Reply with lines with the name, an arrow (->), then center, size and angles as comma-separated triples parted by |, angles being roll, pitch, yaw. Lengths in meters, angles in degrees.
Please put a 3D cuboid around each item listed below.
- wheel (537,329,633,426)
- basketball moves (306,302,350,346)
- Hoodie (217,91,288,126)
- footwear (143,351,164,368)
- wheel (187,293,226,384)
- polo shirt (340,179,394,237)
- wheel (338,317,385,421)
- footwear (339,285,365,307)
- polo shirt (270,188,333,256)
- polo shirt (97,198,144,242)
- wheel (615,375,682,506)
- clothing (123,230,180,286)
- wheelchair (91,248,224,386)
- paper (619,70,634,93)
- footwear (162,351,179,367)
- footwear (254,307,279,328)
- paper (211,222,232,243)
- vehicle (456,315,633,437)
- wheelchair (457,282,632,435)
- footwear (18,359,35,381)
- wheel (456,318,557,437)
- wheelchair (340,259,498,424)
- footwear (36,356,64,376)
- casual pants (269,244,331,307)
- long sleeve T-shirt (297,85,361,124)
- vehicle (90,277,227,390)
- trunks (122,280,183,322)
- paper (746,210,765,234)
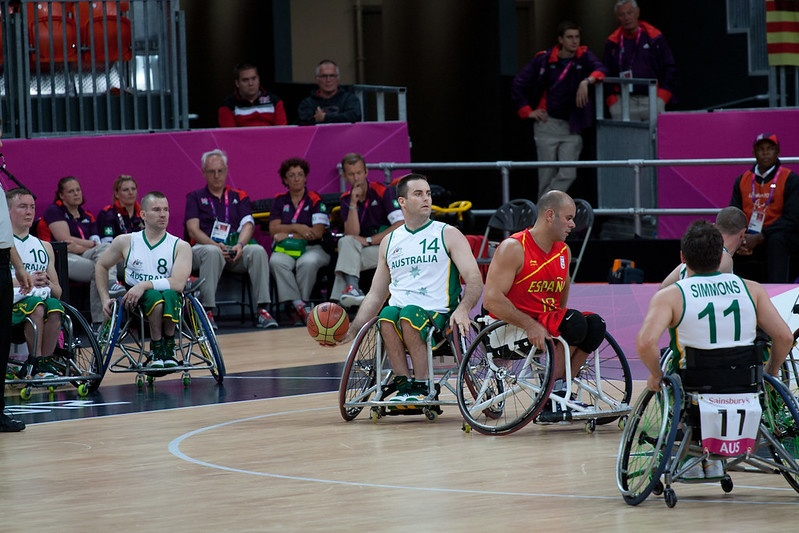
wheel -> 1.417, 0.790, 10.060 | 0.726, 0.882, 0.751 | 3, -2, 0
basketball moves -> -0.573, 0.469, 10.115 | 0.342, 0.326, 0.340 | -1, -1, 4
Hoodie -> -1.893, -1.986, 16.059 | 0.832, 0.565, 0.371 | -8, 14, -14
footwear -> -2.344, 0.878, 11.696 | 0.278, 0.129, 0.135 | 4, 11, 38
wheel -> -1.950, 0.735, 12.423 | 0.135, 0.670, 0.670 | -22, 32, -9
polo shirt -> -0.370, -0.665, 14.674 | 0.828, 0.622, 0.298 | -1, 7, 15
wheel -> -0.300, 0.854, 10.256 | 0.229, 0.675, 0.708 | 9, 20, 13
footwear -> -0.459, 0.292, 11.776 | 0.195, 0.215, 0.528 | -3, 3, 17
polo shirt -> -1.174, -0.500, 14.861 | 0.883, 0.882, 0.503 | 1, 0, 9
polo shirt -> -3.123, -0.503, 13.917 | 0.564, 0.447, 0.293 | -6, 3, -27
wheel -> 1.665, 1.146, 8.273 | 0.091, 0.881, 0.900 | 20, -12, -5
clothing -> -2.372, -0.064, 11.891 | 0.525, 0.582, 0.323 | 4, -5, -3
wheelchair -> -2.347, 0.657, 12.229 | 1.127, 1.458, 1.238 | 2, -20, -12
paper -> 2.864, -2.302, 15.521 | 0.205, 0.272, 0.070 | -4, -7, 26
footwear -> -2.152, 0.861, 11.683 | 0.150, 0.150, 0.121 | -8, 10, -32
footwear -> -1.560, 0.597, 14.644 | 0.242, 0.239, 0.251 | -3, 8, -5
paper -> -2.092, -0.400, 14.496 | 0.206, 0.230, 0.038 | 13, 13, -16
vehicle -> 1.151, 0.909, 9.975 | 0.851, 1.193, 1.441 | 4, -7, -44
wheelchair -> 1.197, 0.660, 9.920 | 1.081, 1.375, 1.741 | 8, -6, -44
footwear -> -3.422, 0.934, 11.368 | 0.139, 0.184, 0.075 | 13, -21, -1
wheel -> 0.888, 0.916, 9.816 | 0.214, 0.848, 0.814 | 27, -26, -31
wheelchair -> 0.009, 0.680, 10.408 | 1.133, 1.639, 1.420 | -1, -10, 19
footwear -> -3.225, 0.921, 11.394 | 0.215, 0.167, 0.184 | -5, 9, -16
casual pants -> -1.227, 0.097, 14.868 | 0.773, 0.832, 0.601 | 3, 0, 12
long sleeve T-shirt -> -0.902, -2.060, 16.092 | 0.814, 0.448, 0.452 | -3, 8, -3
vehicle -> -2.324, 0.487, 11.997 | 1.031, 1.263, 1.036 | -8, 4, -24
trunks -> -2.319, 0.327, 11.651 | 0.501, 0.281, 0.443 | 7, 43, -8
paper -> 3.901, -0.476, 13.467 | 0.178, 0.314, 0.035 | 21, 8, 33
